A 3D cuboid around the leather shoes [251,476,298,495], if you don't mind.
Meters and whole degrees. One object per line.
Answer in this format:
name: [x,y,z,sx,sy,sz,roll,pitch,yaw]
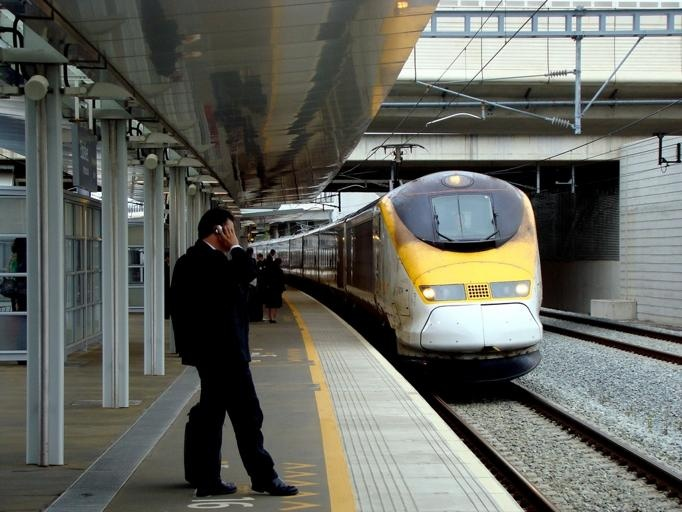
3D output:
leather shoes: [-0.501,1.688,4.219,0.401,0.143,0.134,2,1,-13]
